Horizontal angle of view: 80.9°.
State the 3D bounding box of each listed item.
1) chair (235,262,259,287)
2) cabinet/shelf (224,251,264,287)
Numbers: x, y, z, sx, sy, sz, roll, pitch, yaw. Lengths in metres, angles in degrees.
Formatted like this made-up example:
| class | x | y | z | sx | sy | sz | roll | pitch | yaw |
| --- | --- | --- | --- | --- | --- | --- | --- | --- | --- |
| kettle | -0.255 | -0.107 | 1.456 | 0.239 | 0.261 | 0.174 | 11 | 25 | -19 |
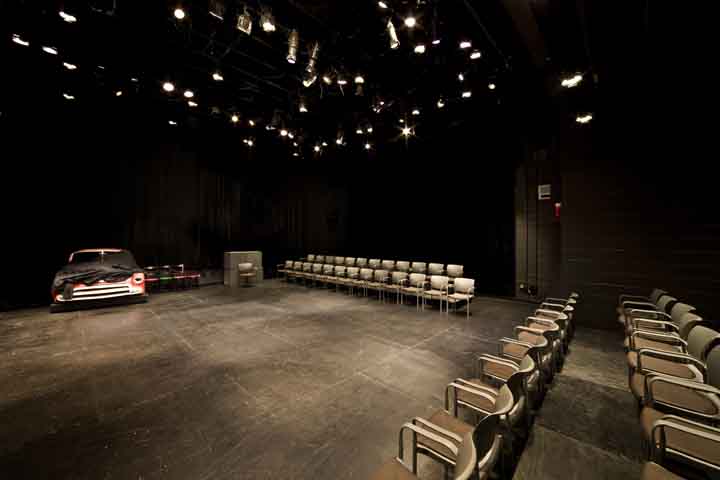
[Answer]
| class | x | y | z | sx | sy | sz | roll | pitch | yaw |
| --- | --- | --- | --- | --- | --- | --- | --- | --- | --- |
| chair | -4.397 | 1.441 | 16.786 | 0.784 | 1.128 | 0.802 | 3 | -3 | -44 |
| cabinet/shelf | -4.697 | 1.220 | 16.950 | 1.380 | 1.405 | 0.509 | -1 | 7 | -41 |
